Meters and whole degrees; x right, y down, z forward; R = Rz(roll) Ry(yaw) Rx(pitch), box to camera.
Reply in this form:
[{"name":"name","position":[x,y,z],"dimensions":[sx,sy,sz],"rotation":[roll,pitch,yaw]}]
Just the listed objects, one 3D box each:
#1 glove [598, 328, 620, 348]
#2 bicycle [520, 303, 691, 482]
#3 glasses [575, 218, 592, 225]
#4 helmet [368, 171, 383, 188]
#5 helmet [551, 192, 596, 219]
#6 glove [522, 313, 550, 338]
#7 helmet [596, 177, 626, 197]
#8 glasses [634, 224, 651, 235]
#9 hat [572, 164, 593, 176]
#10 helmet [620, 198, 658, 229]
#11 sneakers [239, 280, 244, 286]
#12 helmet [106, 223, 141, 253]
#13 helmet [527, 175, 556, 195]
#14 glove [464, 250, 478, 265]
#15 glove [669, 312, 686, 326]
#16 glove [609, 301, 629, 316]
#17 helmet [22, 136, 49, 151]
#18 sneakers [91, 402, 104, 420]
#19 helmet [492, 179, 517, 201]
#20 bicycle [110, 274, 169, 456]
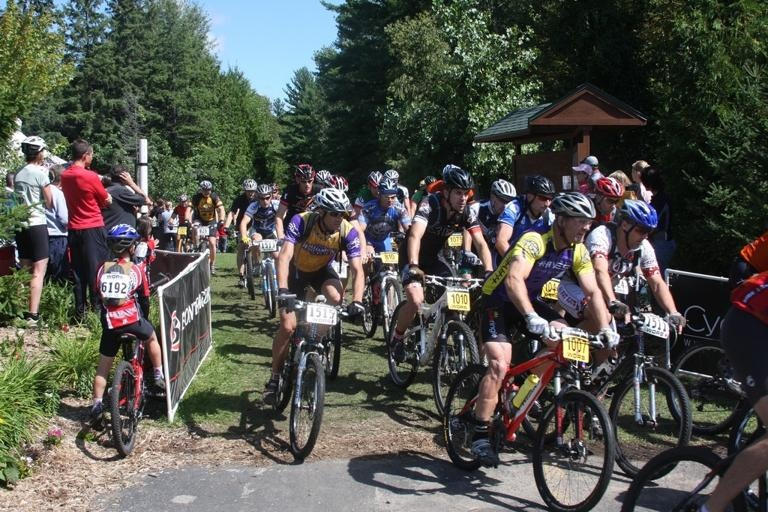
[{"name":"glove","position":[2.550,0.931,8.468],"dimensions":[0.259,0.240,0.206],"rotation":[7,1,-5]},{"name":"bicycle","position":[2.969,1.513,9.645],"dimensions":[0.951,1.544,2.325],"rotation":[21,-8,-16]},{"name":"glasses","position":[2.308,-0.376,8.544],"dimensions":[0.221,0.089,0.122],"rotation":[6,2,-34]},{"name":"helmet","position":[-0.175,-1.389,14.032],"dimensions":[0.238,0.323,0.339],"rotation":[4,-41,-7]},{"name":"helmet","position":[2.128,-0.595,8.571],"dimensions":[0.277,0.172,0.391],"rotation":[4,5,-36]},{"name":"glove","position":[1.689,0.746,8.329],"dimensions":[0.207,0.098,0.283],"rotation":[27,11,-24]},{"name":"helmet","position":[3.245,-1.004,10.787],"dimensions":[0.231,0.179,0.353],"rotation":[10,7,-11]},{"name":"glasses","position":[3.326,-0.324,9.580],"dimensions":[0.128,0.146,0.042],"rotation":[5,0,42]},{"name":"hat","position":[3.667,-1.575,13.756],"dimensions":[0.350,0.211,0.243],"rotation":[10,7,16]},{"name":"helmet","position":[3.262,-0.560,9.654],"dimensions":[0.310,0.231,0.474],"rotation":[18,8,-23]},{"name":"sneakers","position":[-3.378,0.661,17.656],"dimensions":[0.114,0.170,0.141],"rotation":[-2,-4,5]},{"name":"helmet","position":[-3.361,-0.227,9.715],"dimensions":[0.293,0.290,0.447],"rotation":[3,6,-1]},{"name":"helmet","position":[2.132,-0.953,10.245],"dimensions":[0.229,0.156,0.336],"rotation":[10,8,-22]},{"name":"glove","position":[1.261,0.037,10.874],"dimensions":[0.196,0.115,0.289],"rotation":[5,1,12]},{"name":"glove","position":[3.648,0.794,9.270],"dimensions":[0.151,0.078,0.193],"rotation":[-4,13,-25]},{"name":"glove","position":[2.868,0.648,9.130],"dimensions":[0.238,0.206,0.186],"rotation":[8,2,19]},{"name":"helmet","position":[-5.639,-1.808,12.077],"dimensions":[0.262,0.258,0.390],"rotation":[13,5,13]},{"name":"sneakers","position":[-3.542,1.898,9.223],"dimensions":[0.143,0.183,0.171],"rotation":[6,2,-23]},{"name":"helmet","position":[1.776,-1.012,11.320],"dimensions":[0.238,0.200,0.388],"rotation":[10,11,-17]},{"name":"bicycle","position":[-3.149,1.499,9.390],"dimensions":[0.452,1.702,1.052],"rotation":[6,1,-1]}]
